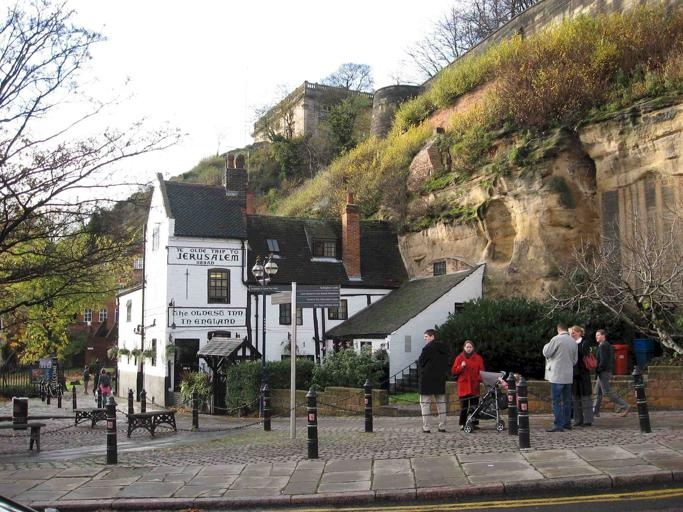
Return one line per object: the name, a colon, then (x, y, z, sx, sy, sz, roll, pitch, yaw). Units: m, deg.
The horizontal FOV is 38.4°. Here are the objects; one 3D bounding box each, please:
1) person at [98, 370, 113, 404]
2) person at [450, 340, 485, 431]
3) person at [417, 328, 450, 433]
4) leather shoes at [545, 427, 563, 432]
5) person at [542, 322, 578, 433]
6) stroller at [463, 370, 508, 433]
person: (-10.483, 5.914, 43.543, 0.466, 1.484, 1.803, 1, -8, -18)
person: (3.971, 4.010, 30.766, 0.937, 2.745, 1.242, -2, -7, 7)
person: (2.868, 3.900, 30.724, 0.904, 3.197, 0.996, -2, -7, 5)
leather shoes: (6.446, 5.298, 29.834, 0.529, 0.249, 0.189, 3, -11, 3)
person: (6.657, 3.667, 29.711, 0.932, 3.244, 0.849, -4, -8, 22)
stroller: (4.702, 4.511, 31.109, 1.331, 1.966, 1.158, -1, -1, 35)
